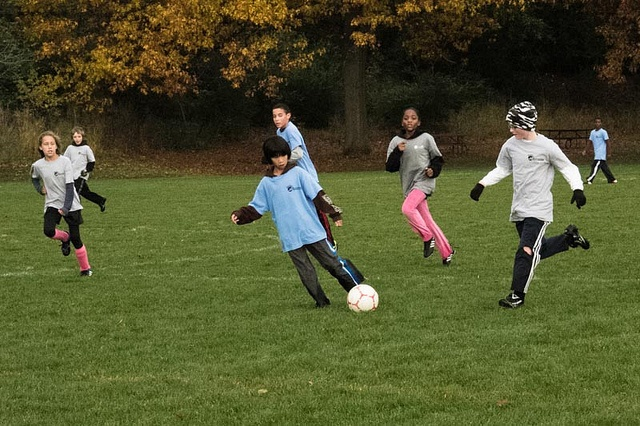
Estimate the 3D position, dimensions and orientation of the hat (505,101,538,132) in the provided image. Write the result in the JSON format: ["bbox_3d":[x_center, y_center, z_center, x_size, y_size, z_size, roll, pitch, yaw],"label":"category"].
[{"bbox_3d":[3.151,-1.542,12.795,0.515,0.477,0.401,19,8,10],"label":"hat"}]

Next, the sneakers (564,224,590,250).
[{"bbox_3d":[4.375,0.422,13.772,0.254,0.528,0.187,-56,15,-26],"label":"sneakers"}]

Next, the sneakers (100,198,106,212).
[{"bbox_3d":[-5.363,-0.188,19.889,0.130,0.390,0.166,0,-10,-2],"label":"sneakers"}]

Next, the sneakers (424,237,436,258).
[{"bbox_3d":[2.004,0.645,14.836,0.173,0.406,0.145,-4,15,-21],"label":"sneakers"}]

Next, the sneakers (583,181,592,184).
[{"bbox_3d":[7.799,-0.876,23.517,0.110,0.059,0.147,4,-3,-20],"label":"sneakers"}]

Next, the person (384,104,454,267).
[{"bbox_3d":[1.797,-0.485,14.673,1.141,2.778,0.756,-1,8,9],"label":"person"}]

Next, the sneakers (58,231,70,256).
[{"bbox_3d":[-4.802,0.581,15.175,0.167,0.497,0.213,-2,20,3],"label":"sneakers"}]

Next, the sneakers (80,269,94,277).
[{"bbox_3d":[-4.161,1.061,14.396,0.198,0.122,0.150,13,-38,-32],"label":"sneakers"}]

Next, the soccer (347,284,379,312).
[{"bbox_3d":[0.668,1.341,12.606,0.419,0.420,0.410,-8,-2,5],"label":"soccer"}]

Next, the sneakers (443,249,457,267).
[{"bbox_3d":[2.356,0.804,14.653,0.128,0.162,0.386,9,32,31],"label":"sneakers"}]

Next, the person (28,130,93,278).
[{"bbox_3d":[-4.600,-0.149,14.338,0.945,2.541,0.712,-3,8,0],"label":"person"}]

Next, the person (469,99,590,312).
[{"bbox_3d":[3.333,-0.147,12.688,1.530,3.114,0.891,-1,8,13],"label":"person"}]

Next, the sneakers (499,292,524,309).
[{"bbox_3d":[2.992,1.370,12.582,0.440,0.217,0.171,2,3,-5],"label":"sneakers"}]
